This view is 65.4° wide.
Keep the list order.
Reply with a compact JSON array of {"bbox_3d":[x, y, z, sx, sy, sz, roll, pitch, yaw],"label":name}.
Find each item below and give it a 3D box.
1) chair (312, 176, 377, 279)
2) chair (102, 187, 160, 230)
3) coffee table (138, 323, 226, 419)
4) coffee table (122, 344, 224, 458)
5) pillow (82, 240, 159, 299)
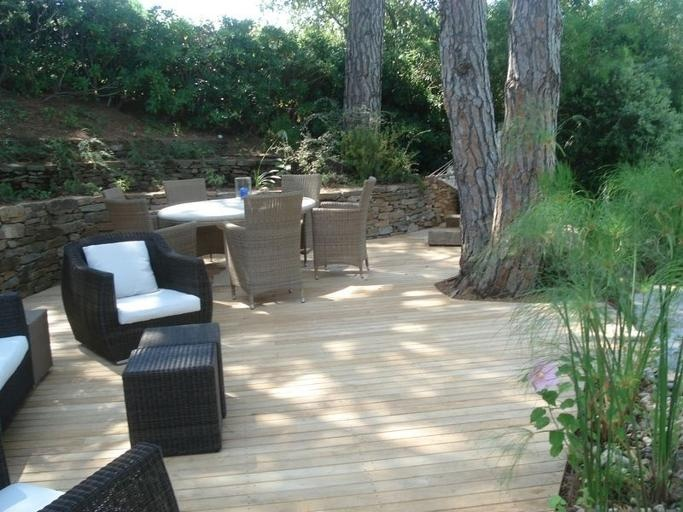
[{"bbox_3d":[0.007,-0.353,6.428,0.746,1.201,0.618,-2,15,-2],"label":"chair"},{"bbox_3d":[-2.292,-0.500,5.828,0.650,0.611,0.545,-3,12,-8],"label":"chair"},{"bbox_3d":[-0.924,0.721,3.497,0.675,0.578,0.579,-1,44,-3],"label":"coffee table"},{"bbox_3d":[-1.000,0.849,3.167,0.509,0.542,0.380,-4,15,-8],"label":"coffee table"},{"bbox_3d":[-1.853,0.096,4.468,0.569,0.469,0.165,-16,-13,-44],"label":"pillow"}]
